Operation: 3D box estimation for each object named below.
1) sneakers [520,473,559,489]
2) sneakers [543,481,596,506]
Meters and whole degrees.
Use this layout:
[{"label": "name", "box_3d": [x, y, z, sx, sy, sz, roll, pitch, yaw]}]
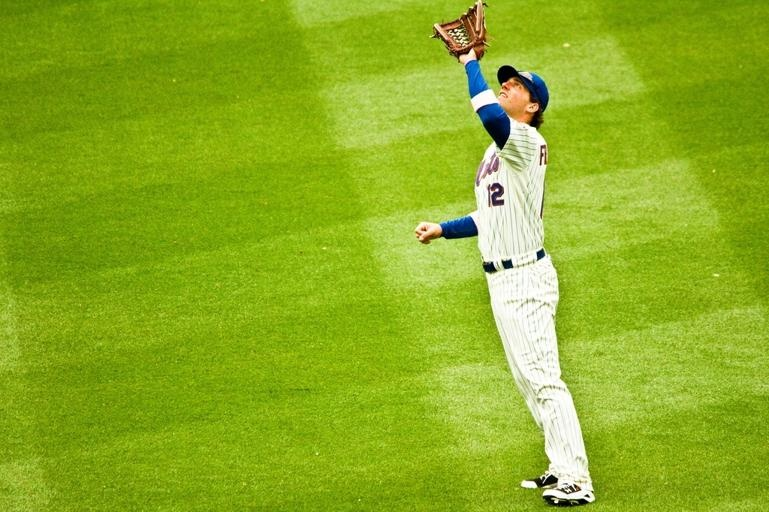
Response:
[{"label": "sneakers", "box_3d": [1.569, 2.253, 13.661, 0.417, 0.146, 0.158, 2, 97, 12]}, {"label": "sneakers", "box_3d": [1.832, 2.351, 13.560, 0.572, 0.197, 0.266, 3, 90, -8]}]
